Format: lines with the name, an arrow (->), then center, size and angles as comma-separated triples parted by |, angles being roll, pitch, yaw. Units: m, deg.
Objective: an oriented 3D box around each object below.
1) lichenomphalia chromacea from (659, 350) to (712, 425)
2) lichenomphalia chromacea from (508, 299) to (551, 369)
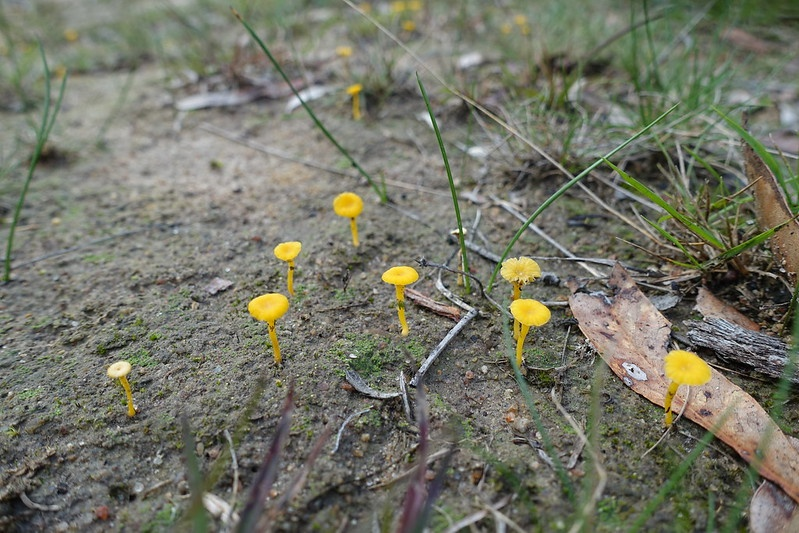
lichenomphalia chromacea -> 1.482, 0.642, 3.250 | 0.191, 0.333, 0.194 | -10, 49, 4
lichenomphalia chromacea -> 0.715, 0.334, 3.493 | 0.200, 0.421, 0.364 | 12, 57, 14
